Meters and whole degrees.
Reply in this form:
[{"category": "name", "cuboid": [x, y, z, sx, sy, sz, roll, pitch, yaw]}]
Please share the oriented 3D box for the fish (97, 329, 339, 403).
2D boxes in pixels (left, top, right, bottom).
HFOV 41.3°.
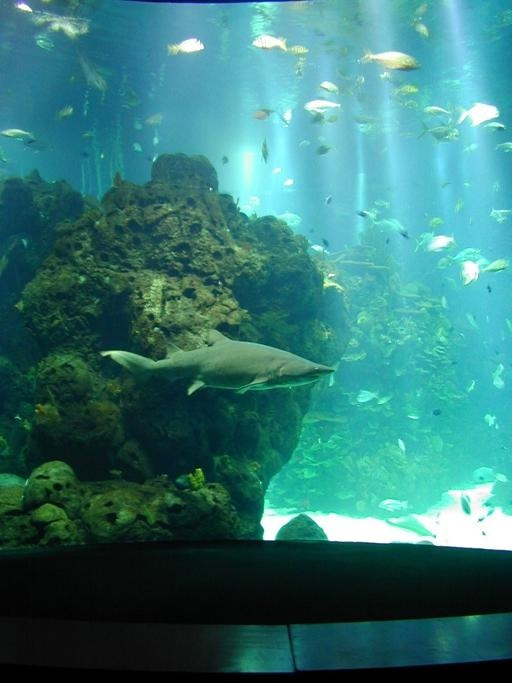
[{"category": "fish", "cuboid": [-1.001, 0.286, 10.832, 4.504, 1.021, 1.172, 1, 6, 18]}]
